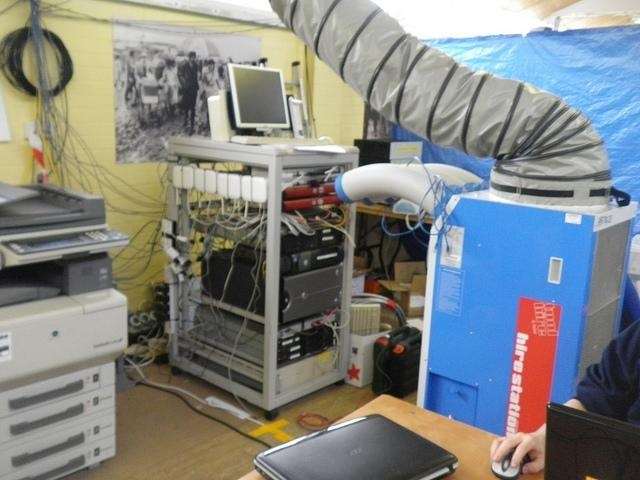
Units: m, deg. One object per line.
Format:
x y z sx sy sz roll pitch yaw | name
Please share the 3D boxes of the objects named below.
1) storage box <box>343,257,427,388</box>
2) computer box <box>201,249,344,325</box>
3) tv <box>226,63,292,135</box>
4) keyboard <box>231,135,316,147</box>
0.550 0.677 3.875 0.620 0.620 0.642 5 9 31 | storage box
-0.348 0.189 3.447 0.711 0.310 0.511 17 20 33 | computer box
-0.406 -0.944 3.451 0.100 0.407 0.482 7 13 37 | tv
-0.280 -0.636 3.304 0.568 0.071 0.362 -8 12 -36 | keyboard
